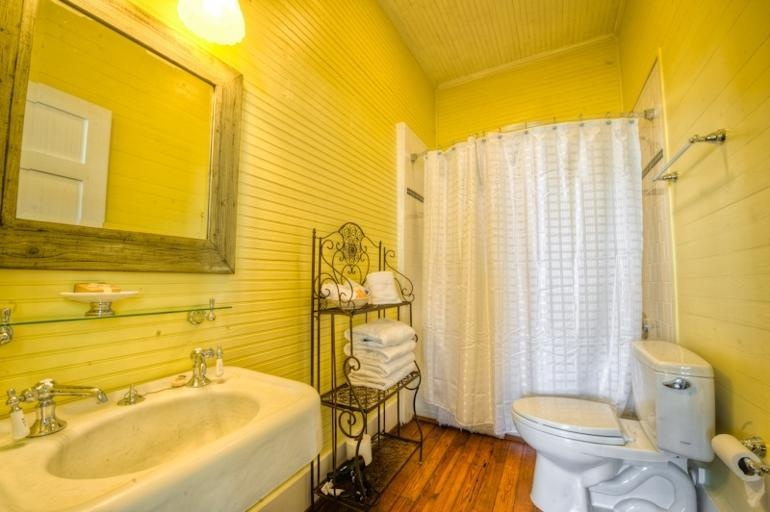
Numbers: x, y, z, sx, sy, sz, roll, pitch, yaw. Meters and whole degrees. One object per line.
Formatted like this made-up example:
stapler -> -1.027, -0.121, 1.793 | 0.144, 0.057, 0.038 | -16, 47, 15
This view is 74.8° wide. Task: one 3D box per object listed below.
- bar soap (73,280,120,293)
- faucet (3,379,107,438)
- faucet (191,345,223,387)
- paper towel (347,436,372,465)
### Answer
bar soap -> -1.253, 0.133, 2.189 | 0.187, 0.056, 0.092 | -1, -6, -20
faucet -> -1.278, 0.623, 2.111 | 0.183, 0.257, 0.471 | -3, -10, 14
faucet -> -0.840, 0.523, 2.450 | 0.188, 0.173, 0.143 | 0, -1, -26
paper towel -> -0.152, 1.188, 3.054 | 0.155, 0.192, 0.226 | -2, -5, -7
